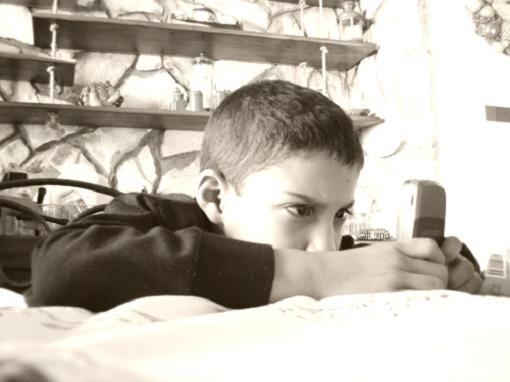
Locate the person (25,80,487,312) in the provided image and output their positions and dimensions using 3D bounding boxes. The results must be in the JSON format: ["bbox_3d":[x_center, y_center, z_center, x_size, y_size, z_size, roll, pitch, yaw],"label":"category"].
[{"bbox_3d":[0.032,-0.024,0.839,0.735,0.367,0.482,2,7,-2],"label":"person"}]
